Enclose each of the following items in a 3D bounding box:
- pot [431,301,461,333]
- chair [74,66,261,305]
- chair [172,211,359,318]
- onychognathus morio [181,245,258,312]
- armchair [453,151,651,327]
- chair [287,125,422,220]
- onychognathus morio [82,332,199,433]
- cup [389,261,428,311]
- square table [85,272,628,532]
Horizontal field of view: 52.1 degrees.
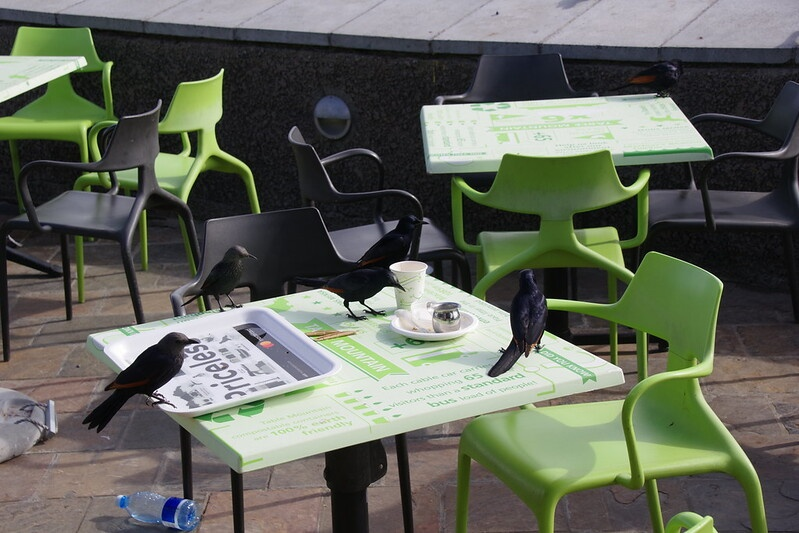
[{"bbox_3d":[0.175,0.193,3.114,0.089,0.107,0.115,-10,20,-23],"label":"pot"},{"bbox_3d":[-1.608,-0.565,5.799,1.429,1.504,1.323,-6,22,-18],"label":"chair"},{"bbox_3d":[-0.711,-0.163,4.009,0.642,0.772,0.562,-9,16,-26],"label":"chair"},{"bbox_3d":[-0.803,0.049,3.715,0.342,0.270,0.153,4,4,15],"label":"onychognathus morio"},{"bbox_3d":[0.773,-0.261,4.437,0.949,1.087,0.796,-1,38,3],"label":"armchair"},{"bbox_3d":[-0.254,-0.450,4.832,0.762,0.715,0.832,-3,27,-6],"label":"chair"},{"bbox_3d":[-0.886,0.394,2.830,0.397,0.283,0.144,-5,7,-12],"label":"onychognathus morio"},{"bbox_3d":[0.044,0.069,3.302,0.184,0.176,0.175,-1,23,0],"label":"cup"},{"bbox_3d":[-0.149,0.353,3.082,1.271,1.132,1.224,-14,27,-30],"label":"square table"}]
